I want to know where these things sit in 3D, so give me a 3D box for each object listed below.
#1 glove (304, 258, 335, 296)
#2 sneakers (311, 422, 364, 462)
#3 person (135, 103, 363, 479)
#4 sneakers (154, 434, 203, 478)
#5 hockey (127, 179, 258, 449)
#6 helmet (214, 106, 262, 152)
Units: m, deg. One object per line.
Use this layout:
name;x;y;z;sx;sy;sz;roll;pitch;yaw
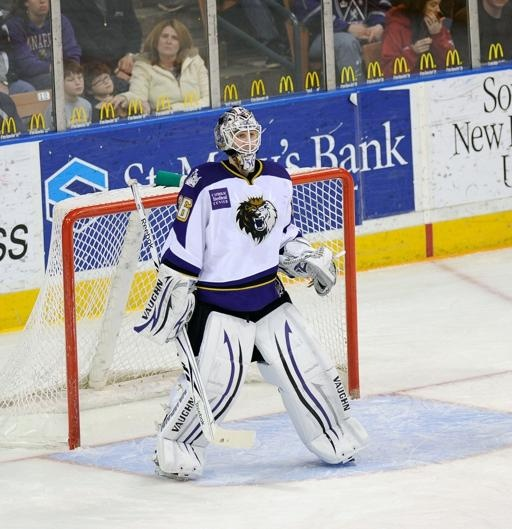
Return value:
glove;0.240;0.043;3.751;0.078;0.059;0.177;0;37;43
sneakers;0.335;0.689;3.709;0.164;0.155;0.058;-31;-17;-19
person;-0.026;0.102;3.621;0.843;1.352;0.491;-6;17;-18
sneakers;-0.271;0.689;3.601;0.156;0.188;0.081;18;-51;-39
hockey;-0.239;0.182;3.581;0.293;1.017;0.531;-7;7;-30
helmet;-0.055;-0.506;3.572;0.153;0.171;0.196;-5;14;-10
